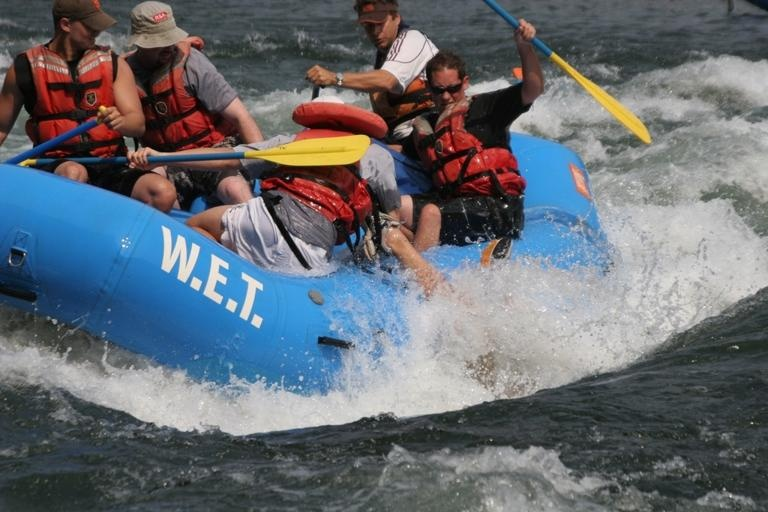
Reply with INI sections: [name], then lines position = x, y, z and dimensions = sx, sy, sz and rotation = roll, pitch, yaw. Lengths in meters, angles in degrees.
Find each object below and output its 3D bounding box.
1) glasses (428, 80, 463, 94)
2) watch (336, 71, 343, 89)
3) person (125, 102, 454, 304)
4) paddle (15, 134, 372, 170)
[glasses]
position = 0.539, -1.404, 8.647
dimensions = 0.282, 0.097, 0.085
rotation = -12, 49, -1
[watch]
position = -0.376, -1.520, 8.779
dimensions = 0.070, 0.094, 0.096
rotation = 6, 47, -1
[person]
position = -0.760, -0.344, 7.948
dimensions = 1.978, 0.792, 1.403
rotation = 8, 9, -22
[paddle]
position = -1.446, -0.800, 7.935
dimensions = 2.407, 0.120, 0.265
rotation = -4, 57, 4
